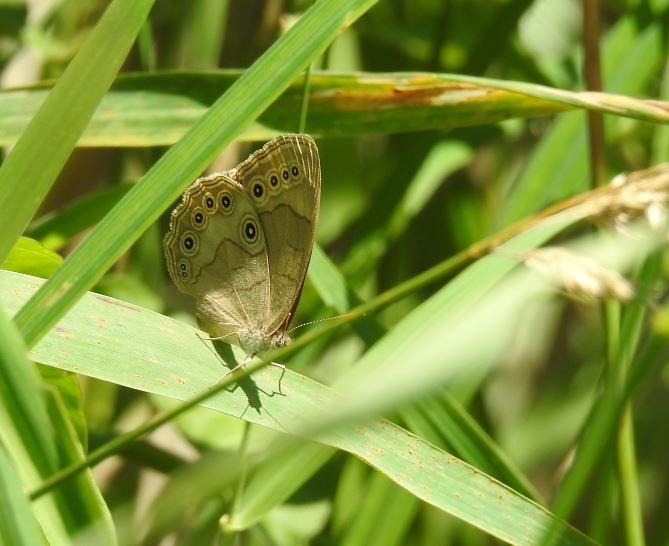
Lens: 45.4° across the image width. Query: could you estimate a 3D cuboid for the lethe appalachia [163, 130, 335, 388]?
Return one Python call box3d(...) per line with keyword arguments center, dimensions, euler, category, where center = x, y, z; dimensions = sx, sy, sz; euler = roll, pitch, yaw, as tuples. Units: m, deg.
box3d(center=(-0.175, -0.041, 1.442), dimensions=(0.260, 0.440, 0.170), euler=(2, 11, -15), category="lethe appalachia")
